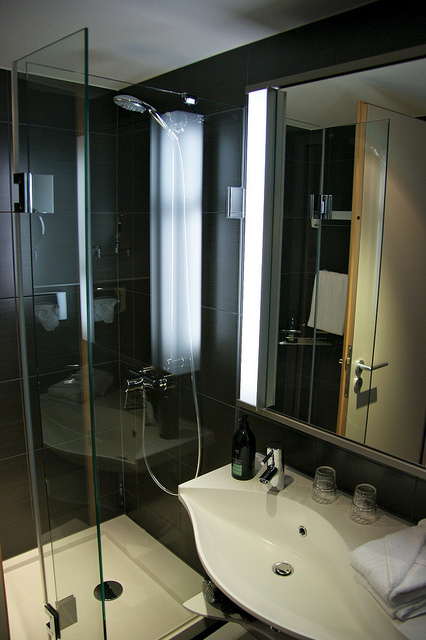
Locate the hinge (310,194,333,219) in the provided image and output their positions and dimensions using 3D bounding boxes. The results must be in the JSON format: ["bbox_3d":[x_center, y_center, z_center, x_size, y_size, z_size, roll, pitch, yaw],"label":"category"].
[{"bbox_3d":[0.308,-0.325,1.385,0.062,0.096,0.094,2,3,9],"label":"hinge"}]

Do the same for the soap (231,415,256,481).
[{"bbox_3d":[0.105,0.418,1.567,0.069,0.181,0.096,-2,7,-23],"label":"soap"}]

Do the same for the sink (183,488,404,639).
[{"bbox_3d":[0.175,0.615,1.244,0.443,0.141,0.717,3,15,-1],"label":"sink"}]

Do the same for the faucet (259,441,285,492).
[{"bbox_3d":[0.174,0.463,1.444,0.047,0.153,0.113,5,19,30],"label":"faucet"}]

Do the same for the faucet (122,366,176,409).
[{"bbox_3d":[-0.210,0.201,1.561,0.125,0.135,0.125,13,16,35],"label":"faucet"}]

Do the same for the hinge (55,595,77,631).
[{"bbox_3d":[-0.371,0.742,1.214,0.065,0.123,0.015,7,12,35],"label":"hinge"}]

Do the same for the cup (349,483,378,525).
[{"bbox_3d":[0.404,0.495,1.286,0.071,0.092,0.086,3,-6,36],"label":"cup"}]
